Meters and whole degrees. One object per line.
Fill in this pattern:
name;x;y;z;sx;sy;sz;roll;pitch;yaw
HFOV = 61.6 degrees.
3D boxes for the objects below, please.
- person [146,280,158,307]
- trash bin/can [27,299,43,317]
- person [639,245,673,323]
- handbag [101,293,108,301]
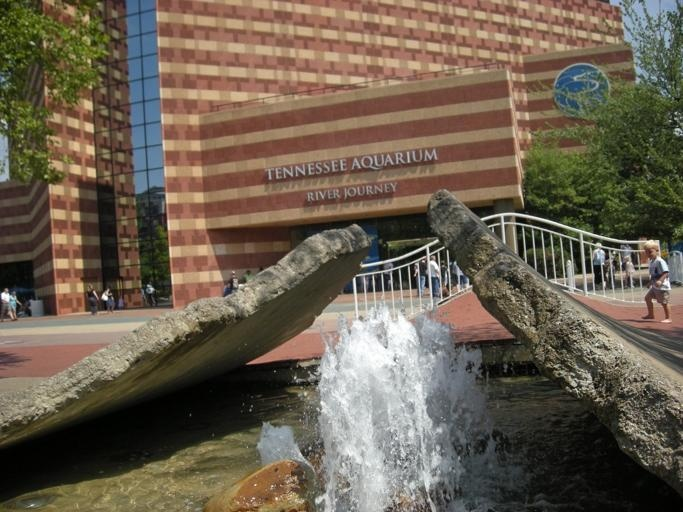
person;-10.551;1.954;31.515;0.287;1.265;0.832;-11;8;-42
trash bin/can;-16.687;2.746;31.135;0.682;0.850;1.267;-9;6;-28
person;5.340;0.376;9.621;0.397;1.355;1.429;-2;6;29
handbag;-12.179;2.036;29.214;0.326;0.568;0.510;4;-12;-21
